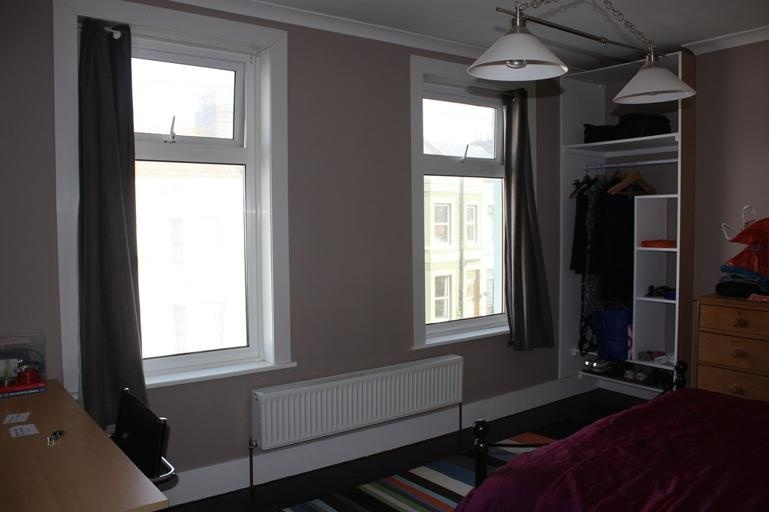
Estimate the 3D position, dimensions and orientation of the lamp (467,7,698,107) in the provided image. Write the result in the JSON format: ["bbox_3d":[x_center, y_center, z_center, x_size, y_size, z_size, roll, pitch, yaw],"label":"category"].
[{"bbox_3d":[1.130,-1.302,3.899,1.549,0.572,1.077,-5,15,-23],"label":"lamp"}]
